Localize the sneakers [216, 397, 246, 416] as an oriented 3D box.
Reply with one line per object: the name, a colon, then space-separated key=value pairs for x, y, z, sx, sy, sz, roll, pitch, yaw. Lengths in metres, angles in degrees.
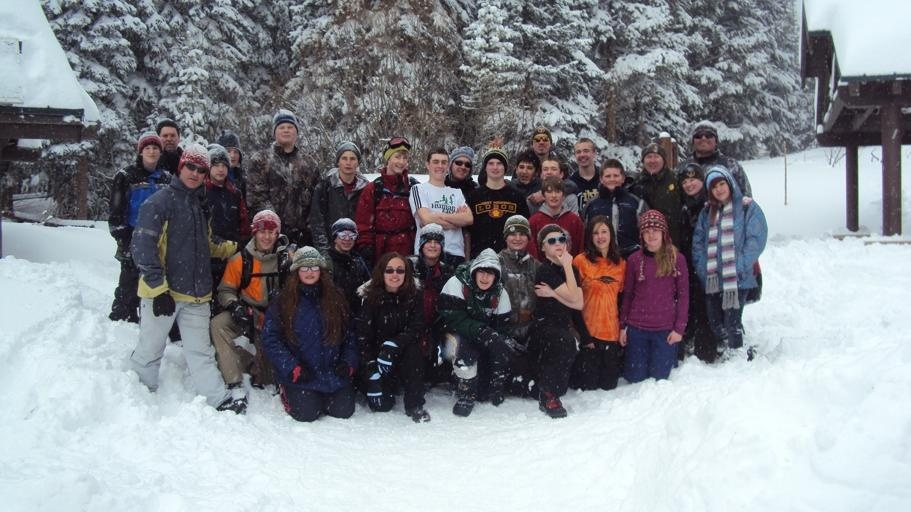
sneakers: x=-4.283 y=2.853 z=14.811 sx=0.447 sy=0.181 sz=0.292 roll=-1 pitch=11 yaw=-7

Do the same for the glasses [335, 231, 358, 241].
glasses: x=-2.216 y=-0.413 z=15.603 sx=0.392 sy=0.191 sz=0.118 roll=-3 pitch=5 yaw=-18

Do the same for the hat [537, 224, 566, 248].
hat: x=1.853 y=-0.429 z=15.446 sx=0.421 sy=0.479 sz=0.190 roll=5 pitch=8 yaw=7

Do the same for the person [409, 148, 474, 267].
person: x=-0.287 y=-0.249 z=16.216 sx=1.234 sy=3.813 sz=1.078 roll=-2 pitch=5 yaw=-9

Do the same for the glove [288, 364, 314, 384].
glove: x=-3.006 y=2.286 z=15.013 sx=0.458 sy=0.373 sz=0.097 roll=-3 pitch=5 yaw=-16

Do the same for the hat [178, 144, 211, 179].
hat: x=-5.078 y=-1.886 z=15.104 sx=0.511 sy=0.525 sz=0.569 roll=9 pitch=27 yaw=-30

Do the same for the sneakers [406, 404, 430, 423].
sneakers: x=-0.746 y=3.076 z=15.115 sx=0.413 sy=0.259 sz=0.164 roll=6 pitch=-7 yaw=-11

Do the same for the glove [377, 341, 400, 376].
glove: x=-1.327 y=1.973 z=15.259 sx=0.409 sy=0.645 sz=0.238 roll=0 pitch=-22 yaw=29

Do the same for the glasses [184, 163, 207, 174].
glasses: x=-5.028 y=-1.676 z=14.950 sx=0.232 sy=0.069 sz=0.233 roll=10 pitch=12 yaw=-37

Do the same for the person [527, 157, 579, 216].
person: x=2.076 y=-1.367 z=16.510 sx=0.980 sy=1.391 sz=0.772 roll=-1 pitch=-10 yaw=15

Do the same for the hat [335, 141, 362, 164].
hat: x=-2.295 y=-2.128 z=16.529 sx=0.516 sy=0.524 sz=0.587 roll=3 pitch=19 yaw=-11

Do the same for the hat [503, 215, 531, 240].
hat: x=1.217 y=-0.587 z=15.647 sx=0.540 sy=0.443 sz=0.297 roll=-1 pitch=5 yaw=2

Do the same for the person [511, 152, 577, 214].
person: x=1.727 y=-1.640 z=16.482 sx=1.050 sy=1.411 sz=0.701 roll=2 pitch=14 yaw=15

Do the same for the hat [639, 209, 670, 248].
hat: x=4.006 y=-0.563 z=15.728 sx=0.540 sy=0.651 sz=0.626 roll=-2 pitch=-30 yaw=16

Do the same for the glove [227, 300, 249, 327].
glove: x=-4.256 y=1.119 z=15.108 sx=0.339 sy=0.462 sz=0.144 roll=-26 pitch=3 yaw=1

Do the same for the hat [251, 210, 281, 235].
hat: x=-3.794 y=-0.652 z=15.426 sx=0.457 sy=0.365 sz=0.458 roll=4 pitch=-5 yaw=-18

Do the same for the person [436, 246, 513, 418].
person: x=0.405 y=1.492 z=15.312 sx=1.390 sy=3.174 sz=0.563 roll=-1 pitch=4 yaw=-1

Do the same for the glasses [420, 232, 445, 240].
glasses: x=-0.491 y=-0.385 z=15.479 sx=0.447 sy=0.171 sz=0.085 roll=-2 pitch=5 yaw=-3

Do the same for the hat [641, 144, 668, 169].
hat: x=4.097 y=-2.057 z=16.065 sx=0.388 sy=0.482 sz=0.523 roll=6 pitch=10 yaw=8

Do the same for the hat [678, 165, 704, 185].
hat: x=4.799 y=-1.655 z=15.876 sx=0.377 sy=0.302 sz=0.389 roll=7 pitch=11 yaw=28

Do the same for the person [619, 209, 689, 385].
person: x=3.941 y=0.819 z=15.540 sx=1.304 sy=3.367 sz=0.503 roll=0 pitch=4 yaw=13

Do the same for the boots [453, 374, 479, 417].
boots: x=0.173 y=2.757 z=15.322 sx=0.438 sy=0.777 sz=1.085 roll=-2 pitch=4 yaw=13

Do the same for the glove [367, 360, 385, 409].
glove: x=-1.609 y=2.525 z=15.330 sx=0.295 sy=0.909 sz=0.262 roll=-1 pitch=1 yaw=-4

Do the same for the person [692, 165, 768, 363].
person: x=5.473 y=0.075 z=15.716 sx=1.345 sy=3.698 sz=0.477 roll=0 pitch=5 yaw=16

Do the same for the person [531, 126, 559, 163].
person: x=1.884 y=-2.531 z=17.348 sx=0.534 sy=0.772 sz=0.722 roll=-1 pitch=2 yaw=11

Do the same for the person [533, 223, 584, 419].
person: x=1.918 y=1.232 z=15.280 sx=0.832 sy=3.620 sz=0.922 roll=1 pitch=5 yaw=31
